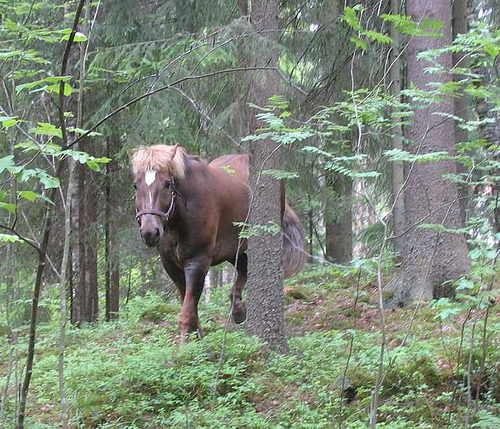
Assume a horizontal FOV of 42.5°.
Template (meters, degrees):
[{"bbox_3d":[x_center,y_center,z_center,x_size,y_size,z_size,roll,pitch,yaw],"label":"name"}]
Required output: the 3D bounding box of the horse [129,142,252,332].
[{"bbox_3d":[-0.664,0.523,11.242,1.141,3.278,4.785,-4,1,20],"label":"horse"}]

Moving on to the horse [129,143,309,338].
[{"bbox_3d":[-0.498,0.427,11.314,1.144,3.232,4.843,0,5,29],"label":"horse"}]
